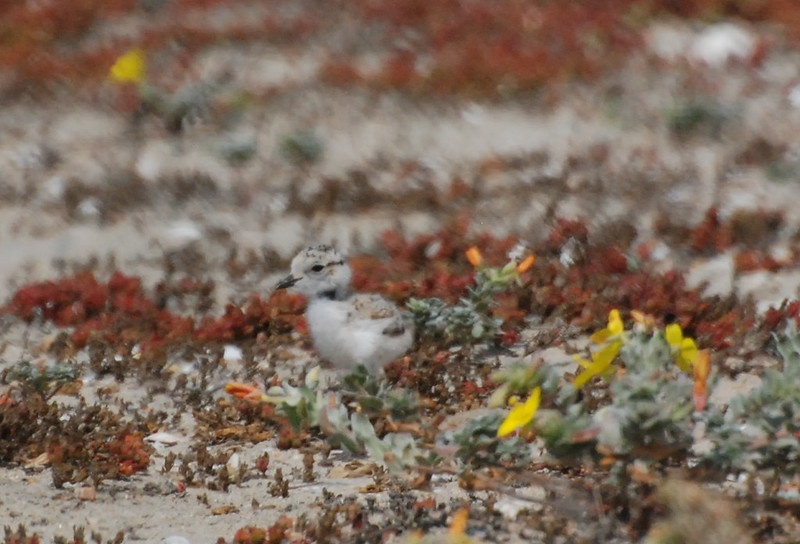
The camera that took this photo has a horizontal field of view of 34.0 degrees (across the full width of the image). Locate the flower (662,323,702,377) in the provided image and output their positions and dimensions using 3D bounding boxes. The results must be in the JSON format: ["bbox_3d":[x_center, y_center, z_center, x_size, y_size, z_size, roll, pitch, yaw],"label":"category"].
[{"bbox_3d":[2.406,0.641,11.068,0.287,0.146,0.424,-43,87,18],"label":"flower"}]
